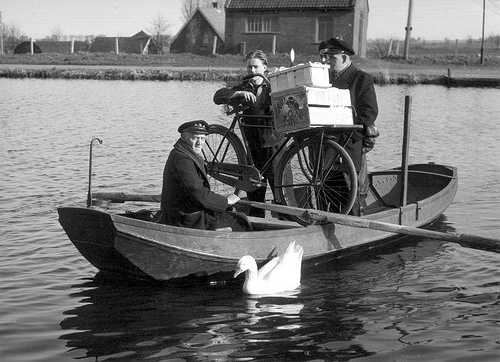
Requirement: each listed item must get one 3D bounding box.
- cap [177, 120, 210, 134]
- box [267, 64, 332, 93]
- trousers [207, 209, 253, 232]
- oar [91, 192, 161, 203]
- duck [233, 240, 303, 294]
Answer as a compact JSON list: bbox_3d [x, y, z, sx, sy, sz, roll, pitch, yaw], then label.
[{"bbox_3d":[-0.861,-0.849,12.945,0.455,0.221,0.294,-2,9,-10],"label":"cap"},{"bbox_3d":[0.851,-1.710,13.673,0.522,0.370,0.981,-5,-2,-43],"label":"box"},{"bbox_3d":[-0.226,0.626,13.593,0.747,0.390,0.176,4,36,-25],"label":"trousers"},{"bbox_3d":[-2.187,0.302,14.426,1.474,0.182,0.193,2,0,0],"label":"oar"},{"bbox_3d":[0.343,1.420,12.940,1.105,0.732,0.252,-4,10,-26],"label":"duck"}]
